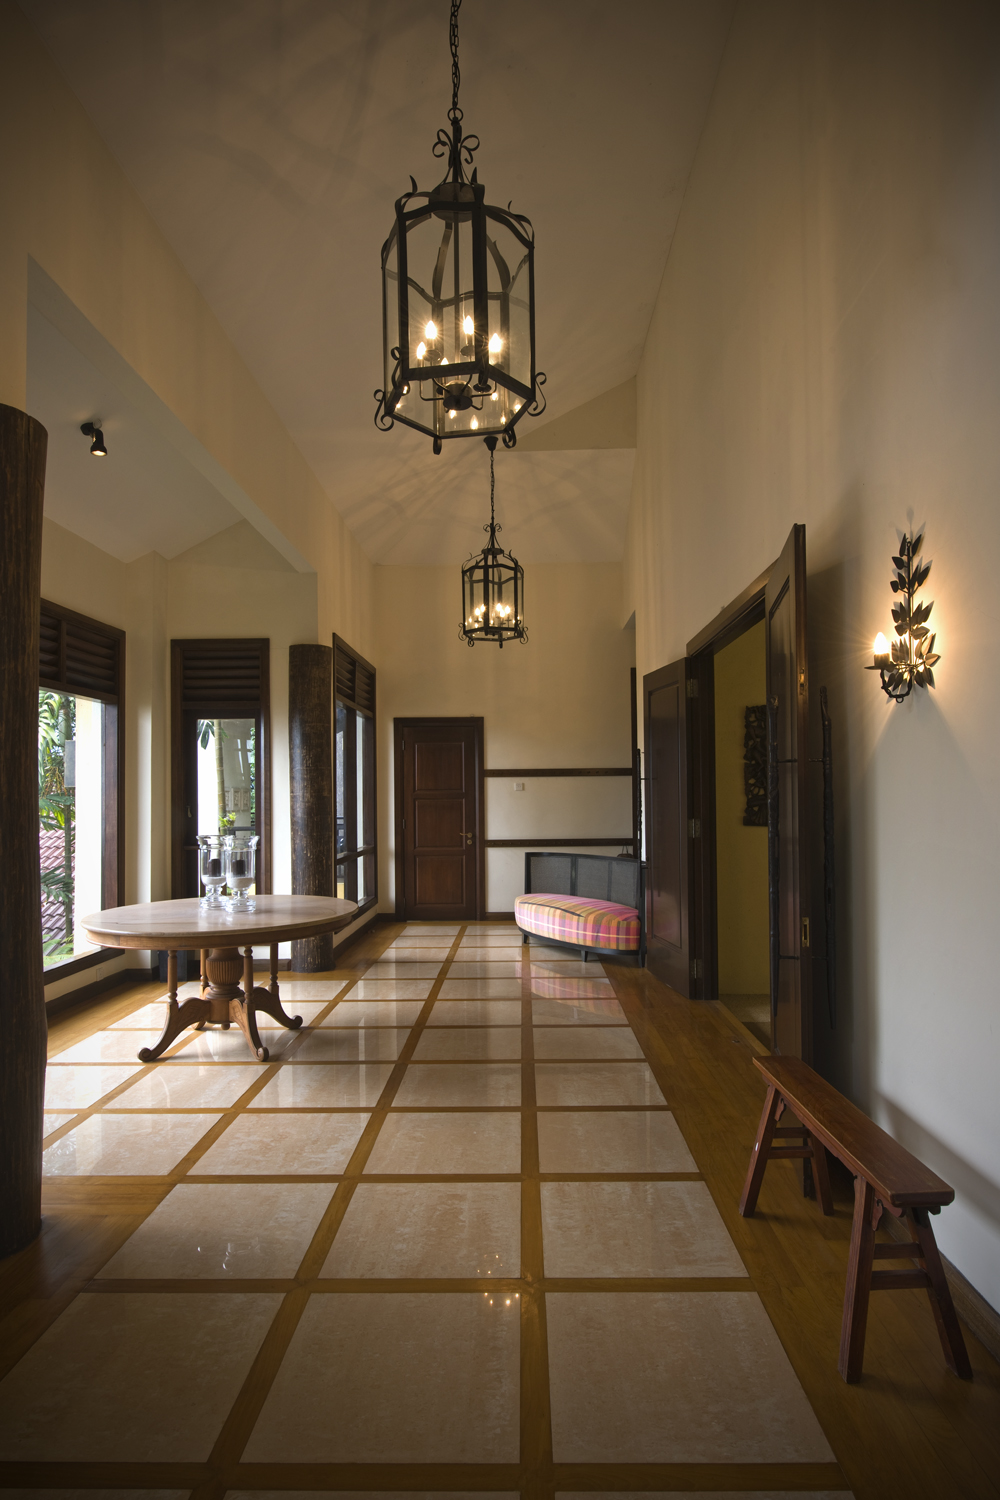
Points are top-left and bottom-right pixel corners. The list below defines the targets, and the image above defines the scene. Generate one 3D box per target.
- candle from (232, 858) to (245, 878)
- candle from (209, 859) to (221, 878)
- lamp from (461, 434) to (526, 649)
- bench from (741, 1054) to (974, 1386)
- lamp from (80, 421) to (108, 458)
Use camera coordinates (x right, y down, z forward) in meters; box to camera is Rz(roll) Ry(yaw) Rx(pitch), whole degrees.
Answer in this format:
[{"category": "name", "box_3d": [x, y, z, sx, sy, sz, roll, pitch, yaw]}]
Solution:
[{"category": "candle", "box_3d": [-1.243, 0.560, 4.855, 0.064, 0.085, 0.100, 0, -1, -21]}, {"category": "candle", "box_3d": [-1.363, 0.562, 4.887, 0.045, 0.146, 0.057, 1, -4, -15]}, {"category": "lamp", "box_3d": [-0.065, -1.675, 7.937, 0.427, 1.856, 0.564, 3, -14, -14]}, {"category": "bench", "box_3d": [0.819, 1.064, 2.396, 0.281, 0.437, 0.963, 0, -2, -2]}, {"category": "lamp", "box_3d": [-1.930, -1.482, 4.841, 0.074, 0.240, 0.097, -3, -1, 5]}]
